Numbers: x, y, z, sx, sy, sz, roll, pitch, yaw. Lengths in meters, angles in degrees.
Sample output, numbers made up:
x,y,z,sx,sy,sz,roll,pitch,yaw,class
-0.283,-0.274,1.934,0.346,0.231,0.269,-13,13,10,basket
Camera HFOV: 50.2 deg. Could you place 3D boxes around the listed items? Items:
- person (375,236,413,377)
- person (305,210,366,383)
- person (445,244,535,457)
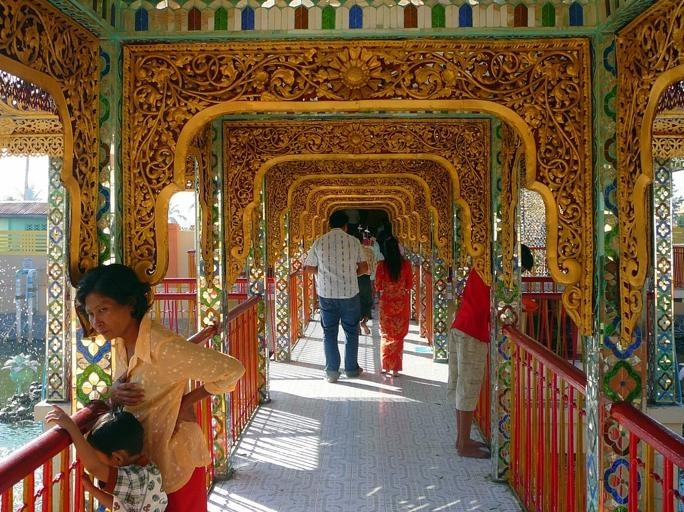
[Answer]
x,y,z,sx,sy,sz,roll,pitch,yaw,class
0.643,0.599,8.857,0.429,1.667,0.544,0,4,4,person
-0.055,0.465,8.607,0.693,1.984,0.544,-1,4,-9,person
1.188,0.797,6.046,0.571,1.827,0.626,0,4,9,person
